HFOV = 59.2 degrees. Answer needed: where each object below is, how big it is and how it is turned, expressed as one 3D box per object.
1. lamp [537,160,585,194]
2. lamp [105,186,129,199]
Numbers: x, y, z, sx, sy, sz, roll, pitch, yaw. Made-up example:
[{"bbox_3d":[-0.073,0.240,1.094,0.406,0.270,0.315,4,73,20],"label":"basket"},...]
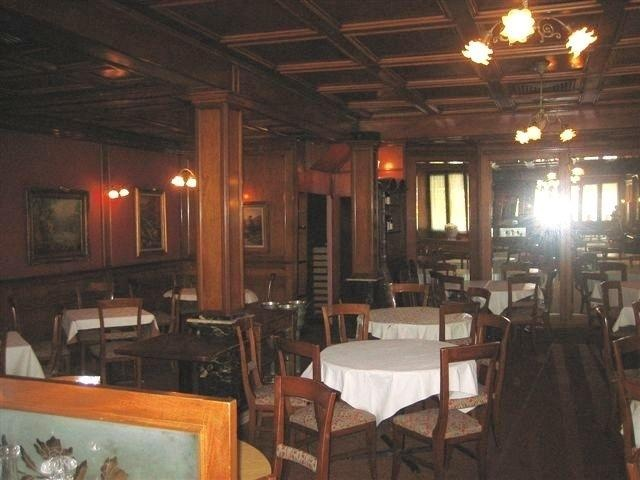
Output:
[{"bbox_3d":[4.873,-1.310,11.523,0.920,0.354,1.283,-3,7,21],"label":"lamp"},{"bbox_3d":[-3.276,-0.724,9.049,0.180,0.226,0.332,-2,5,25],"label":"lamp"}]
